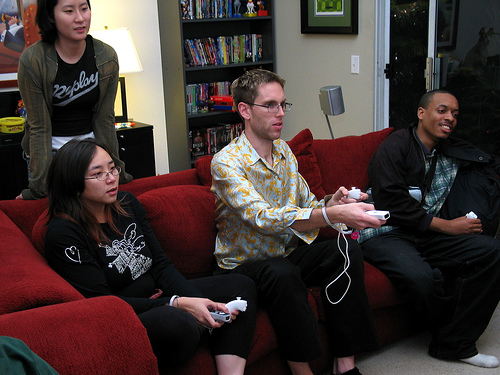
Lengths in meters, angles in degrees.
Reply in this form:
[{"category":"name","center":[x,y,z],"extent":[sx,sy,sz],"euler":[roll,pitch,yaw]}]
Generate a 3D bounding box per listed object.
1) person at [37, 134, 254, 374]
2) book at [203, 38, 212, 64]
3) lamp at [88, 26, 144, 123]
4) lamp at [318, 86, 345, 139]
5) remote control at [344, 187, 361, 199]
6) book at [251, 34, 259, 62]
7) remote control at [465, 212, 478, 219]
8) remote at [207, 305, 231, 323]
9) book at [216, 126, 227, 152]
[{"category":"person","center":[-0.465,0.335,1.567],"extent":[0.876,1.098,0.537],"euler":[4,16,37]},{"category":"book","center":[-0.516,-1.665,4.385],"extent":[0.036,0.377,0.040],"euler":[-14,7,28]},{"category":"lamp","center":[-1.411,-1.196,3.904],"extent":[0.435,0.961,0.451],"euler":[-2,17,-31]},{"category":"lamp","center":[0.713,-0.648,3.207],"extent":[0.249,0.464,0.210],"euler":[-15,16,-35]},{"category":"remote control","center":[0.480,0.027,1.733],"extent":[0.077,0.053,0.063],"euler":[-2,14,16]},{"category":"book","center":[0.060,-1.782,4.670],"extent":[0.104,0.315,0.039],"euler":[-9,13,-15]},{"category":"remote control","center":[1.306,0.162,2.186],"extent":[0.040,0.012,0.041],"euler":[-10,22,-23]},{"category":"remote","center":[-0.124,0.510,1.469],"extent":[0.084,0.065,0.079],"euler":[-9,14,-9]},{"category":"book","center":[-0.361,-0.610,4.634],"extent":[0.067,0.316,0.298],"euler":[2,10,11]}]
